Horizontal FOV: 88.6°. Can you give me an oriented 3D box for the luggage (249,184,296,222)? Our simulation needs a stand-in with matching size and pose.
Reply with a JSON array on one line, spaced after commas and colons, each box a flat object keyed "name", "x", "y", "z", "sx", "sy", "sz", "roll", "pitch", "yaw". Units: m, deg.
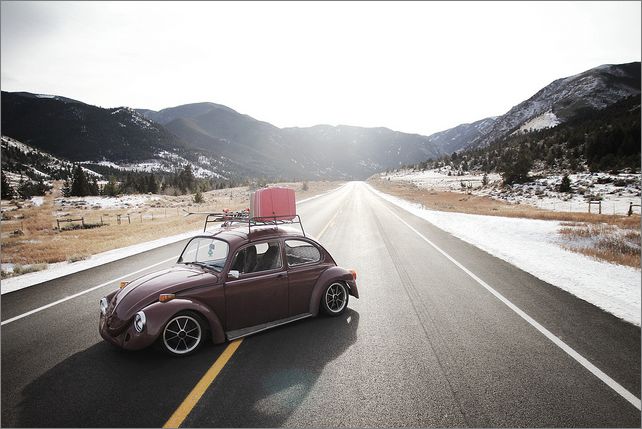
[{"name": "luggage", "x": -1.251, "y": -0.427, "z": 8.987, "sx": 1.115, "sy": 0.878, "sz": 0.568, "roll": -5, "pitch": 2, "yaw": -42}]

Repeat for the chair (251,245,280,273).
[{"name": "chair", "x": -1.341, "y": 0.798, "z": 7.984, "sx": 0.618, "sy": 0.706, "sz": 0.478, "roll": 0, "pitch": 23, "yaw": -16}]

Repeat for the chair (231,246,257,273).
[{"name": "chair", "x": -1.768, "y": 0.910, "z": 7.823, "sx": 0.485, "sy": 0.715, "sz": 0.552, "roll": 19, "pitch": -21, "yaw": -42}]
